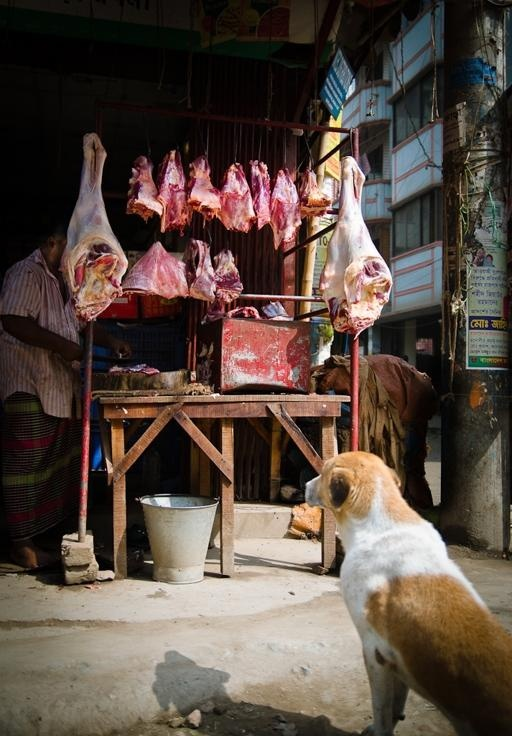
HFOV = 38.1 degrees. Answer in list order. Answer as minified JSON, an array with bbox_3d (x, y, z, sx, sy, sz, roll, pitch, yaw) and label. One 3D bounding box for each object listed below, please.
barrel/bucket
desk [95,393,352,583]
[{"bbox_3d":[-0.504,1.097,4.949,0.515,0.499,0.572,-8,-14,38],"label":"barrel/bucket"},{"bbox_3d":[-0.474,0.934,5.627,1.463,1.117,1.471,1,-4,-13],"label":"desk"}]
